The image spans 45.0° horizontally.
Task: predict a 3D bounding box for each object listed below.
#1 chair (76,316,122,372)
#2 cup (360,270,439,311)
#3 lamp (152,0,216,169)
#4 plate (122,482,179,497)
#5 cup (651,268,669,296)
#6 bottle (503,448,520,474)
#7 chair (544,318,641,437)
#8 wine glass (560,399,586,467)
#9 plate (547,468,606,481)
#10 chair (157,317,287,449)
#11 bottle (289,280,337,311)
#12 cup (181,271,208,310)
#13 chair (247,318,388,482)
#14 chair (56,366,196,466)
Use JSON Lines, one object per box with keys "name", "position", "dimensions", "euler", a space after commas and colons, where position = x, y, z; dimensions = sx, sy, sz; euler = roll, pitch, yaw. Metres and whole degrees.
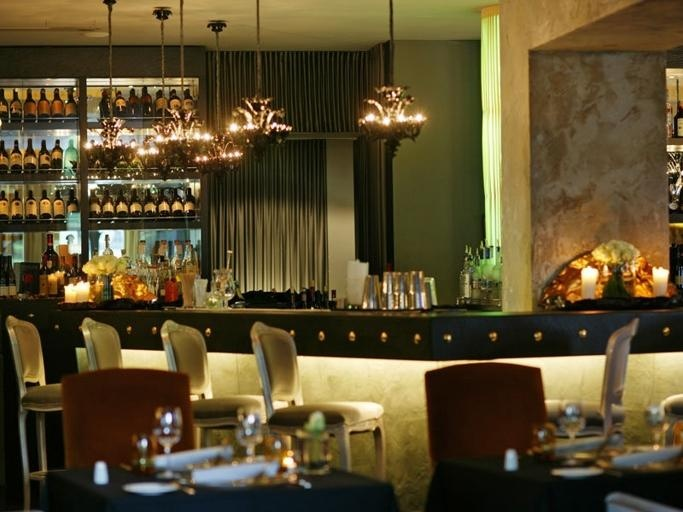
{"name": "chair", "position": [-1.633, 0.601, 5.590], "dimensions": [0.197, 0.243, 0.401], "euler": [-2, 1, -29]}
{"name": "cup", "position": [0.390, 0.238, 5.679], "dimensions": [0.458, 0.258, 0.151], "euler": [-2, 1, 0]}
{"name": "lamp", "position": [-1.483, -1.523, 7.697], "dimensions": [0.592, 1.620, 2.240], "euler": [-2, 1, -13]}
{"name": "plate", "position": [-0.753, 0.919, 3.281], "dimensions": [0.223, 0.027, 0.127], "euler": [-1, 1, 24]}
{"name": "cup", "position": [2.128, 0.169, 5.463], "dimensions": [0.090, 0.181, 0.223], "euler": [-1, 1, 17]}
{"name": "bottle", "position": [0.730, 0.866, 3.505], "dimensions": [0.066, 0.120, 0.082], "euler": [-1, -1, 17]}
{"name": "chair", "position": [1.378, 0.701, 4.595], "dimensions": [0.470, 0.658, 1.297], "euler": [-1, 1, 28]}
{"name": "wine glass", "position": [1.042, 0.798, 3.717], "dimensions": [0.155, 0.239, 0.105], "euler": [2, 2, 4]}
{"name": "plate", "position": [0.975, 0.887, 3.384], "dimensions": [0.208, 0.028, 0.115], "euler": [-1, 1, 14]}
{"name": "chair", "position": [-0.763, 0.791, 5.564], "dimensions": [0.712, 1.253, 0.675], "euler": [-1, -1, 19]}
{"name": "bottle", "position": [-0.282, 0.349, 7.566], "dimensions": [0.216, 0.308, 0.739], "euler": [1, 0, -23]}
{"name": "cup", "position": [-1.170, 0.267, 6.526], "dimensions": [0.260, 0.300, 0.237], "euler": [0, 3, 0]}
{"name": "chair", "position": [-0.047, 0.890, 5.326], "dimensions": [0.905, 1.309, 0.734], "euler": [-5, -6, 24]}
{"name": "chair", "position": [-1.091, 0.752, 4.201], "dimensions": [0.478, 0.742, 0.560], "euler": [2, -8, -21]}
